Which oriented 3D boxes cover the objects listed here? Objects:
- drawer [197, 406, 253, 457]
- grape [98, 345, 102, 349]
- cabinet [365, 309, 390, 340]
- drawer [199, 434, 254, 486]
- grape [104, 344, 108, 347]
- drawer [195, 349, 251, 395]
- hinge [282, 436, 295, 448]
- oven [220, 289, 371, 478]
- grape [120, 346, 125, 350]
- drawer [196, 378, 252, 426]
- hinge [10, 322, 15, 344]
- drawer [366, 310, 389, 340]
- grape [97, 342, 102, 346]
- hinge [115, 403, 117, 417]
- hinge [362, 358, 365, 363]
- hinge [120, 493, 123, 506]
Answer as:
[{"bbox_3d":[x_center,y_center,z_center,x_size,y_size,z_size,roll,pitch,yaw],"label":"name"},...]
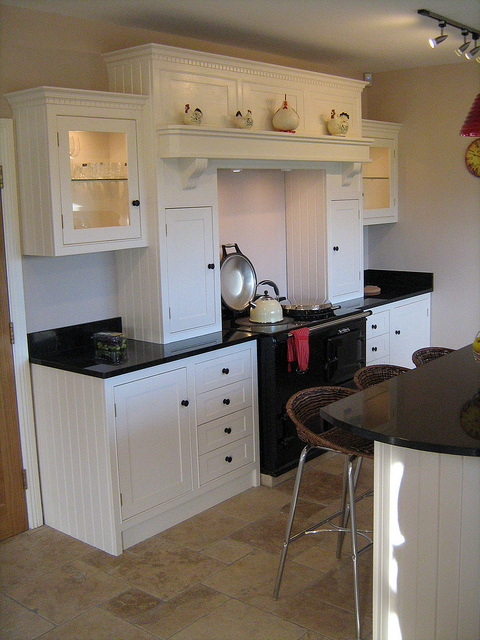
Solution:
[{"bbox_3d":[-0.094,0.620,2.998,0.194,0.137,0.314,4,10,39],"label":"drawer"},{"bbox_3d":[-0.697,0.136,2.679,0.016,0.030,0.015,-1,4,-2],"label":"grape"},{"bbox_3d":[1.072,0.033,4.208,0.120,0.148,0.222,3,12,39],"label":"cabinet"},{"bbox_3d":[-0.076,0.787,3.033,0.190,0.140,0.308,2,10,41],"label":"drawer"},{"bbox_3d":[-0.658,0.129,2.638,0.008,0.009,0.016,7,5,0],"label":"grape"},{"bbox_3d":[-0.090,0.280,2.959,0.203,0.158,0.326,6,11,40],"label":"drawer"},{"bbox_3d":[0.300,0.735,3.235,0.027,0.050,0.071,-13,2,2],"label":"hinge"},{"bbox_3d":[0.330,0.402,3.716,0.710,1.013,1.085,4,10,34],"label":"oven"},{"bbox_3d":[-0.579,0.139,2.641,0.007,0.022,0.024,0,13,10],"label":"grape"},{"bbox_3d":[-0.104,0.458,2.969,0.195,0.143,0.322,2,9,39],"label":"drawer"},{"bbox_3d":[-1.111,0.066,2.617,0.020,0.106,0.015,-4,5,-23],"label":"hinge"},{"bbox_3d":[1.076,0.036,4.220,0.125,0.155,0.238,0,4,39],"label":"drawer"},{"bbox_3d":[-0.699,0.118,2.674,0.013,0.014,0.025,7,5,4],"label":"grape"},{"bbox_3d":[-0.556,0.408,2.407,0.003,0.058,0.011,0,5,33],"label":"hinge"},{"bbox_3d":[0.893,0.293,3.871,0.027,0.048,0.025,3,-4,-22],"label":"hinge"},{"bbox_3d":[-0.545,0.829,2.471,0.007,0.065,0.020,-2,4,-2],"label":"hinge"}]
